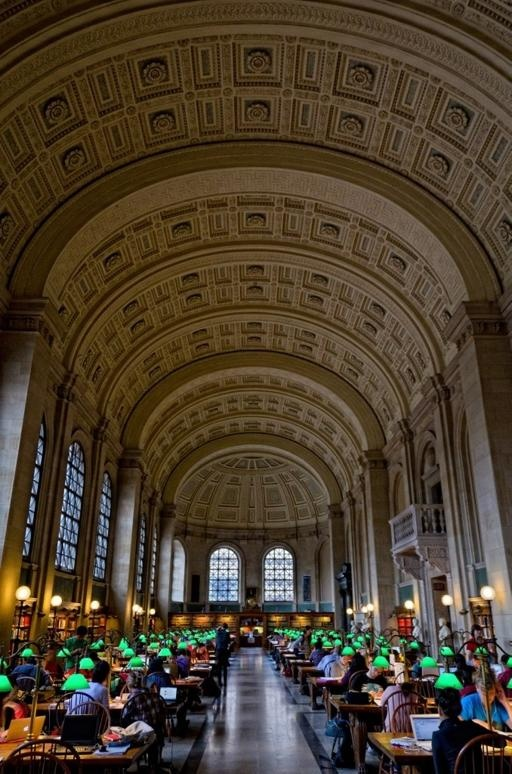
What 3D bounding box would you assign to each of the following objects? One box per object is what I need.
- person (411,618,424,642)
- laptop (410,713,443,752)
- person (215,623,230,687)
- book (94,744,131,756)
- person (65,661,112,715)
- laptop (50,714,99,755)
[{"bbox_3d":[5.864,8.976,16.224,0.393,0.744,1.990,-8,-28,17],"label":"person"},{"bbox_3d":[1.322,2.696,3.448,0.204,0.153,0.657,-9,-28,17],"label":"laptop"},{"bbox_3d":[-1.207,9.876,16.171,0.480,2.010,0.546,-10,-25,25],"label":"person"},{"bbox_3d":[-1.046,2.670,3.226,0.169,0.049,0.196,4,-26,-8],"label":"book"},{"bbox_3d":[-1.611,2.940,4.283,0.348,0.380,1.079,8,-28,-16],"label":"person"},{"bbox_3d":[-1.262,2.502,3.179,0.229,0.255,0.391,5,-27,-12],"label":"laptop"}]
